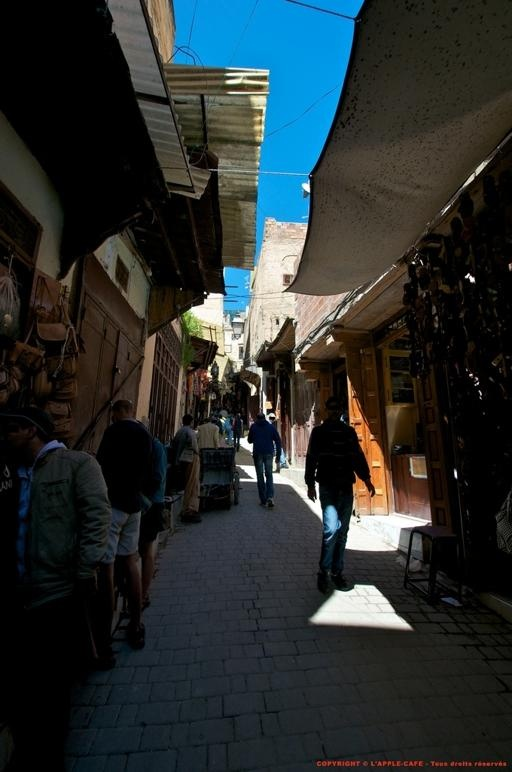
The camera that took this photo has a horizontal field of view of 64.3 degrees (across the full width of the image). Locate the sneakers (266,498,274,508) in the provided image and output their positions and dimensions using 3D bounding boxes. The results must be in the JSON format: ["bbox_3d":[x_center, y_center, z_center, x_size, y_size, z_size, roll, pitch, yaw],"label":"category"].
[{"bbox_3d":[0.245,2.214,7.630,0.105,0.173,0.137,1,-6,-7],"label":"sneakers"}]

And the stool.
[{"bbox_3d":[1.536,1.734,3.845,0.387,0.546,0.322,36,-31,-23],"label":"stool"}]

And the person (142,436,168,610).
[{"bbox_3d":[-0.857,1.160,3.525,0.183,1.425,0.532,2,-6,-12],"label":"person"}]

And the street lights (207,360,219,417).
[{"bbox_3d":[-2.761,-0.209,28.157,0.425,3.498,0.765,-14,-16,43],"label":"street lights"}]

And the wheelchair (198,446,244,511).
[{"bbox_3d":[-0.701,1.679,7.777,0.659,1.151,1.310,0,-1,3],"label":"wheelchair"}]

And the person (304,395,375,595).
[{"bbox_3d":[0.749,1.022,3.996,0.591,1.816,0.408,-1,-6,10],"label":"person"}]

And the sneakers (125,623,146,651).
[{"bbox_3d":[-0.796,1.732,2.829,0.125,0.138,0.173,2,-6,-17],"label":"sneakers"}]
